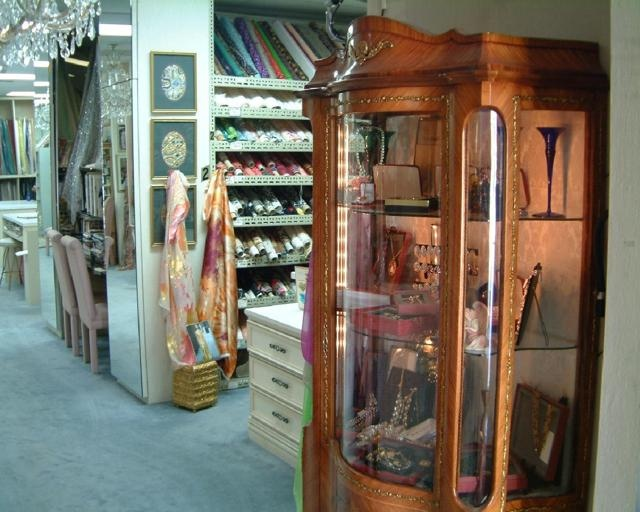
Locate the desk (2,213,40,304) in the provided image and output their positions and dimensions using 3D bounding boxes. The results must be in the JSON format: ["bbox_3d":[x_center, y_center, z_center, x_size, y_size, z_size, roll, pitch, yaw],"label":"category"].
[{"bbox_3d":[-4.022,0.020,7.951,0.408,1.087,1.013,0,5,-26],"label":"desk"}]

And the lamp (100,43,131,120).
[{"bbox_3d":[-1.565,-1.324,4.496,0.131,0.567,0.668,-4,9,-28],"label":"lamp"}]

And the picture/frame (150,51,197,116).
[{"bbox_3d":[-1.082,-1.295,4.354,0.340,0.509,0.020,-2,-14,-11],"label":"picture/frame"}]

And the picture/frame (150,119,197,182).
[{"bbox_3d":[-1.093,-0.810,4.414,0.355,0.500,0.024,-6,36,-23],"label":"picture/frame"}]

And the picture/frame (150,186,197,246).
[{"bbox_3d":[-1.107,-0.313,4.454,0.346,0.517,0.028,-5,36,-21],"label":"picture/frame"}]
